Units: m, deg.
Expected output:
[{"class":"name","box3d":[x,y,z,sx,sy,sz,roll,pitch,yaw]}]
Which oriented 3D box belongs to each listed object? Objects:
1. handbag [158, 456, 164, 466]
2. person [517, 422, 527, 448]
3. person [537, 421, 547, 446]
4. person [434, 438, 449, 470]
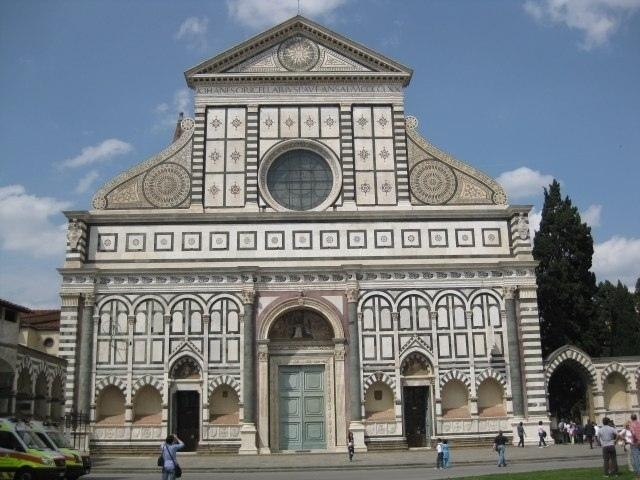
[{"class":"handbag","box3d":[-5.450,7.565,29.760,0.169,0.290,0.300,4,-16,-17]},{"class":"person","box3d":[9.973,9.662,43.068,0.353,1.202,0.582,-4,-15,12]},{"class":"person","box3d":[11.026,9.628,43.135,0.429,1.240,0.684,-6,-16,19]},{"class":"person","box3d":[5.219,9.183,37.281,0.503,1.252,1.218,-3,-15,7]}]
